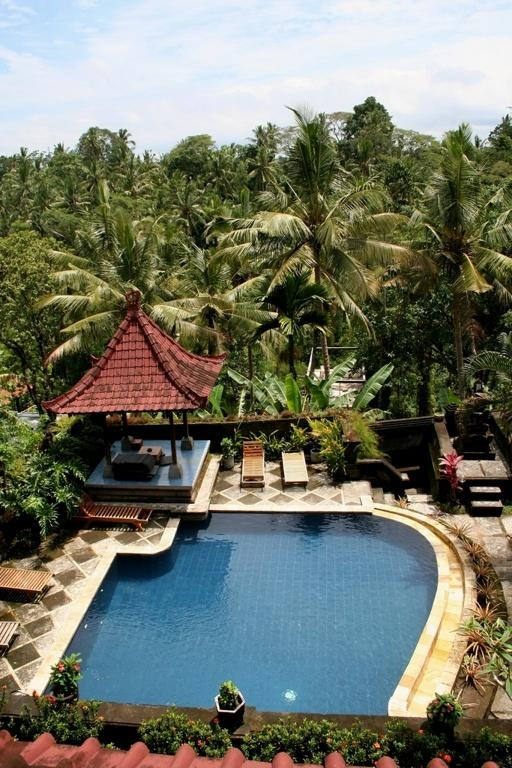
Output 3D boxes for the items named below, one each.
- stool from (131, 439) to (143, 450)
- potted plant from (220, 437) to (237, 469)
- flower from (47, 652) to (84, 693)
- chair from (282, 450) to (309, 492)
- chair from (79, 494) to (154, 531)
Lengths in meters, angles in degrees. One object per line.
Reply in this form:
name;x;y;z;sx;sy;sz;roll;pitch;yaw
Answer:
stool;-3.221;1.661;13.620;0.215;0.263;0.405;0;9;2
potted plant;-0.754;1.934;14.119;0.403;0.836;0.603;-1;13;2
flower;-2.339;3.589;6.101;0.341;0.435;0.296;-7;14;-20
chair;1.048;2.224;12.992;0.559;0.319;1.380;-1;27;0
chair;-3.226;2.938;11.293;1.404;0.496;0.676;0;27;-1
